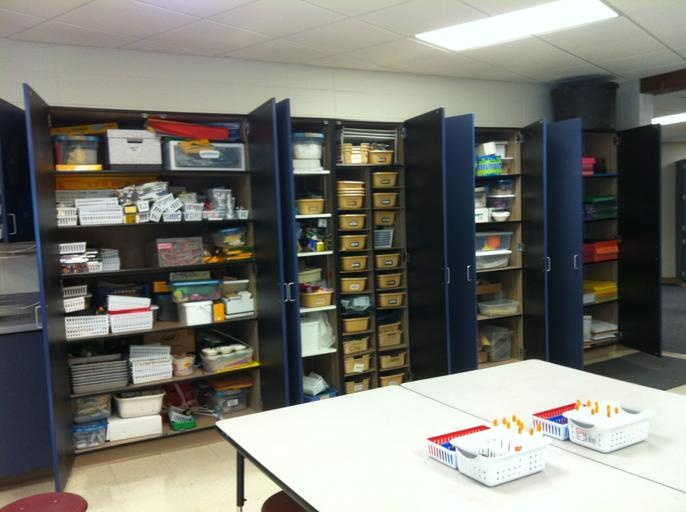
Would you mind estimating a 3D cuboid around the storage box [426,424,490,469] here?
[{"bbox_3d":[0.526,0.853,2.444,0.232,0.059,0.167,-2,3,-40],"label":"storage box"}]

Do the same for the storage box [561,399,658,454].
[{"bbox_3d":[1.244,0.752,2.494,0.306,0.103,0.230,-7,9,-38],"label":"storage box"}]

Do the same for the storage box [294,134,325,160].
[{"bbox_3d":[-0.282,-0.941,4.630,0.280,0.148,0.240,-1,2,-18],"label":"storage box"}]

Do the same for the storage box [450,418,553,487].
[{"bbox_3d":[0.686,0.813,2.309,0.311,0.102,0.248,-9,11,-32],"label":"storage box"}]

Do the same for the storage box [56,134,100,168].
[{"bbox_3d":[-1.953,-0.775,4.035,0.284,0.176,0.269,-4,7,-27],"label":"storage box"}]

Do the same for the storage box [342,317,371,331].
[{"bbox_3d":[0.132,0.620,4.921,0.199,0.075,0.126,-2,2,-30],"label":"storage box"}]

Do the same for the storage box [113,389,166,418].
[{"bbox_3d":[-1.575,1.156,4.250,0.291,0.103,0.218,-1,1,-27],"label":"storage box"}]

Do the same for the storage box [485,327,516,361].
[{"bbox_3d":[1.595,0.906,5.766,0.355,0.380,0.334,-3,5,-7],"label":"storage box"}]

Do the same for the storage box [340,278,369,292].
[{"bbox_3d":[0.108,0.261,4.872,0.186,0.074,0.131,-3,4,-23],"label":"storage box"}]

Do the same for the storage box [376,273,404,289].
[{"bbox_3d":[0.470,0.231,5.080,0.202,0.083,0.141,-3,5,-29],"label":"storage box"}]

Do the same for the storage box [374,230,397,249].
[{"bbox_3d":[0.372,-0.176,5.129,0.272,0.202,0.167,0,11,-11],"label":"storage box"}]

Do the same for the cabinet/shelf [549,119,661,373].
[{"bbox_3d":[2.737,-0.144,5.636,1.109,2.544,1.489,6,18,33],"label":"cabinet/shelf"}]

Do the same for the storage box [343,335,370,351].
[{"bbox_3d":[0.116,0.798,4.951,0.187,0.056,0.131,-5,6,-35],"label":"storage box"}]

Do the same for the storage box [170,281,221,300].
[{"bbox_3d":[-1.164,0.278,4.368,0.277,0.099,0.187,-3,2,-32],"label":"storage box"}]

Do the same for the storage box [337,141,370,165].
[{"bbox_3d":[0.119,-0.920,4.877,0.250,0.131,0.235,1,6,2],"label":"storage box"}]

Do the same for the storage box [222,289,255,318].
[{"bbox_3d":[-0.838,0.405,4.488,0.228,0.140,0.215,-1,0,-28],"label":"storage box"}]

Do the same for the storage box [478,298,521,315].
[{"bbox_3d":[1.600,0.521,5.500,0.306,0.083,0.190,-4,4,-23],"label":"storage box"}]

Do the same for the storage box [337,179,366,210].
[{"bbox_3d":[0.093,-0.545,4.849,0.258,0.182,0.272,0,-2,-21],"label":"storage box"}]

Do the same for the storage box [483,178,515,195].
[{"bbox_3d":[1.597,-0.693,5.458,0.280,0.087,0.186,-3,5,-40],"label":"storage box"}]

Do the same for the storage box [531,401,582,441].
[{"bbox_3d":[1.024,0.786,2.589,0.198,0.055,0.149,-9,8,-40],"label":"storage box"}]

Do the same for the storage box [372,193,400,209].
[{"bbox_3d":[0.415,-0.514,5.012,0.209,0.090,0.149,-3,5,-31],"label":"storage box"}]

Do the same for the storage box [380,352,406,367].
[{"bbox_3d":[0.471,0.993,5.168,0.193,0.068,0.134,-4,5,-29],"label":"storage box"}]

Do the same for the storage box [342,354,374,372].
[{"bbox_3d":[0.142,0.973,4.927,0.209,0.094,0.145,-2,3,-39],"label":"storage box"}]

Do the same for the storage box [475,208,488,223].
[{"bbox_3d":[1.333,-0.394,5.211,0.187,0.113,0.103,-1,1,-30],"label":"storage box"}]

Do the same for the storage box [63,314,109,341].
[{"bbox_3d":[-1.875,0.519,3.999,0.328,0.167,0.171,-1,7,-25],"label":"storage box"}]

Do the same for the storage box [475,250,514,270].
[{"bbox_3d":[1.501,0.024,5.375,0.329,0.098,0.214,-4,4,-26],"label":"storage box"}]

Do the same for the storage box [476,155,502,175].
[{"bbox_3d":[1.423,-0.887,5.259,0.241,0.195,0.123,0,-3,17],"label":"storage box"}]

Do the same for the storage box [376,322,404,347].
[{"bbox_3d":[0.468,0.750,5.155,0.305,0.181,0.216,-1,-1,-32],"label":"storage box"}]

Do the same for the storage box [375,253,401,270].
[{"bbox_3d":[0.431,0.049,5.057,0.209,0.084,0.146,-4,4,-28],"label":"storage box"}]

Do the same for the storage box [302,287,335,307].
[{"bbox_3d":[-0.208,0.358,4.667,0.171,0.089,0.224,-1,1,-34],"label":"storage box"}]

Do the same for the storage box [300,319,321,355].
[{"bbox_3d":[-0.262,0.703,4.654,0.153,0.279,0.216,-3,15,1],"label":"storage box"}]

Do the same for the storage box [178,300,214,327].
[{"bbox_3d":[-1.148,0.452,4.345,0.230,0.142,0.221,-1,1,-34],"label":"storage box"}]

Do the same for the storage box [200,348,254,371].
[{"bbox_3d":[-0.954,0.829,4.481,0.298,0.090,0.223,0,-1,-37],"label":"storage box"}]

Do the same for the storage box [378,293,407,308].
[{"bbox_3d":[0.466,0.420,5.108,0.211,0.085,0.137,-2,3,-17],"label":"storage box"}]

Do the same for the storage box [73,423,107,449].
[{"bbox_3d":[-1.870,1.346,4.062,0.205,0.113,0.166,1,-2,-42],"label":"storage box"}]
